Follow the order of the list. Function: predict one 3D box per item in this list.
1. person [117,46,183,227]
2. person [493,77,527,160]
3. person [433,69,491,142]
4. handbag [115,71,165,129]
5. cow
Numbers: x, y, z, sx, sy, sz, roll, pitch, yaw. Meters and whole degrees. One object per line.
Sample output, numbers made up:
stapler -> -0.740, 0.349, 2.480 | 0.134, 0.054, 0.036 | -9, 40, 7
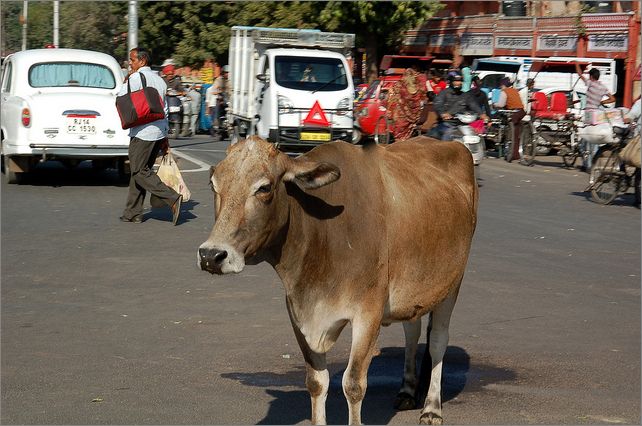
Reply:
person -> -2.750, -1.250, 15.127 | 1.585, 2.748, 1.033 | 7, 8, 29
person -> 4.660, -2.470, 23.382 | 0.917, 1.825, 0.713 | 7, -33, -2
person -> 2.583, -2.096, 19.331 | 1.277, 1.088, 1.884 | 1, 0, -4
handbag -> -2.799, -1.624, 14.654 | 0.712, 0.632, 0.299 | 0, 9, -8
cow -> 0.163, 0.668, 9.138 | 2.614, 2.800, 0.701 | -3, 10, -20
